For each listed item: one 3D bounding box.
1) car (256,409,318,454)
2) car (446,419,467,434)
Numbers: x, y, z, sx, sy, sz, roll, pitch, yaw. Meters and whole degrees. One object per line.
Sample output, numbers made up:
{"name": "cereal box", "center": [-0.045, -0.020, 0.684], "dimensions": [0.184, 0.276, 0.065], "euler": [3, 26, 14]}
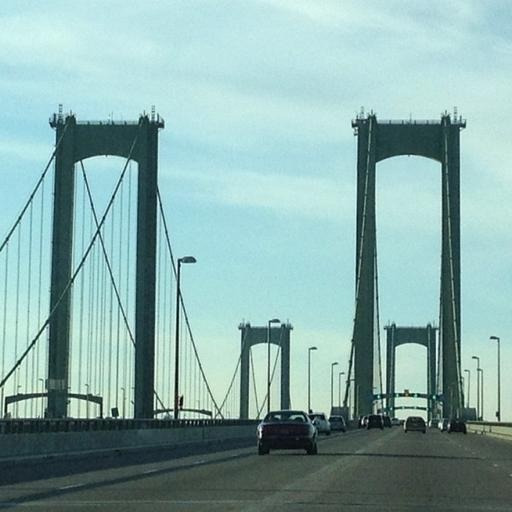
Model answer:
{"name": "car", "center": [0.919, 4.981, 36.737], "dimensions": [1.639, 1.277, 1.103], "euler": [0, -9, 1]}
{"name": "car", "center": [11.362, 9.682, 73.463], "dimensions": [0.827, 0.853, 1.645], "euler": [5, -12, -25]}
